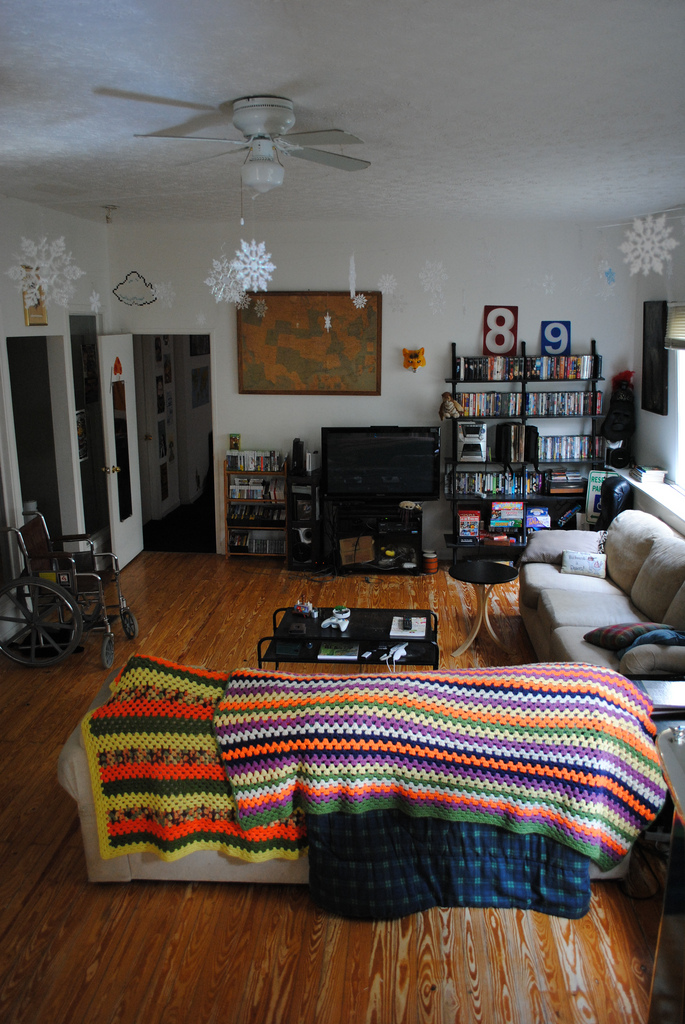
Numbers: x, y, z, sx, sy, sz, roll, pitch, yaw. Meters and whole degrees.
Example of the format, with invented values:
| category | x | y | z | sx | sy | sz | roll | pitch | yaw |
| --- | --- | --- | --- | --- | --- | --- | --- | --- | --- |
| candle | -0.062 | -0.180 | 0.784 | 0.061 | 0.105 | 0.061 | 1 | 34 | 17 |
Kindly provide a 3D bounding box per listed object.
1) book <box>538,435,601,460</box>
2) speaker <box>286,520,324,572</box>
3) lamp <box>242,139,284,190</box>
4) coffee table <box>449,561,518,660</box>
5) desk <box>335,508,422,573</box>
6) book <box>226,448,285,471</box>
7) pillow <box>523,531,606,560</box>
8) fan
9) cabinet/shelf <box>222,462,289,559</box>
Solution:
| category | x | y | z | sx | sy | sz | roll | pitch | yaw |
| --- | --- | --- | --- | --- | --- | --- | --- | --- | --- |
| book | 2.208 | -0.624 | 6.382 | 0.540 | 0.246 | 0.229 | 2 | -2 | 0 |
| speaker | -0.385 | 0.321 | 6.749 | 0.279 | 0.493 | 0.523 | 1 | 9 | -3 |
| lamp | -0.319 | -1.352 | 2.663 | 0.135 | 0.205 | 0.146 | -1 | 9 | -5 |
| coffee table | 0.985 | 0.712 | 4.976 | 0.509 | 0.688 | 0.586 | 0 | 13 | 2 |
| desk | 0.341 | 0.220 | 6.724 | 0.926 | 0.900 | 0.549 | 1 | 14 | 0 |
| book | -0.889 | -0.496 | 6.772 | 0.563 | 0.198 | 0.220 | 1 | -4 | 4 |
| pillow | 1.719 | 0.259 | 5.361 | 0.332 | 0.111 | 0.341 | -3 | 14 | 20 |
| fan | -0.286 | -1.419 | 2.624 | 0.774 | 0.220 | 0.669 | -1 | 10 | 9 |
| cabinet/shelf | -0.891 | -0.052 | 6.882 | 0.769 | 1.348 | 0.410 | 1 | 14 | 4 |
